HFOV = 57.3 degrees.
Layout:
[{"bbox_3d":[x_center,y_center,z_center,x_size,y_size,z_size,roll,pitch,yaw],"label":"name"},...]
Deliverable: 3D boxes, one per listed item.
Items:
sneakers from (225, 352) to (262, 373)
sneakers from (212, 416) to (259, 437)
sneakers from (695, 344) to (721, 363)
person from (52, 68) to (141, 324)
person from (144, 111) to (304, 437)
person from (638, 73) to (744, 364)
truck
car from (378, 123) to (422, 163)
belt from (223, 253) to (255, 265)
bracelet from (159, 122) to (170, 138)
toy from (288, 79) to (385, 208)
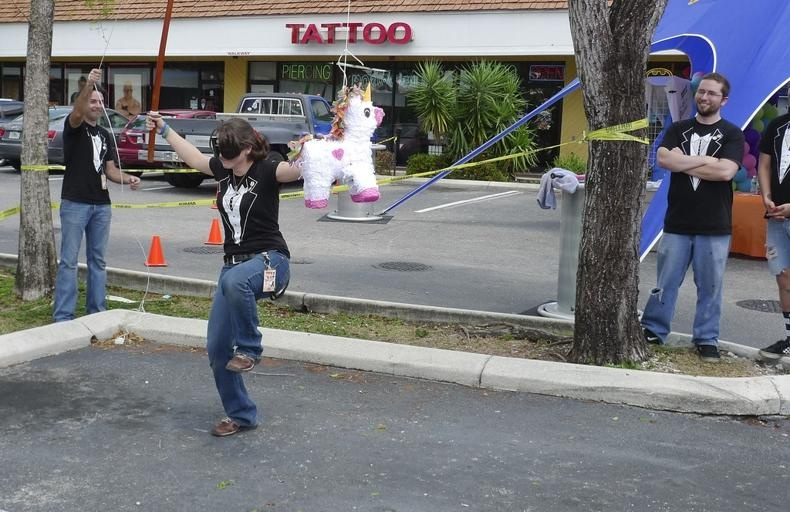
[{"bbox_3d":[-1.198,0.845,5.677,0.247,0.197,0.233,1,9,-10],"label":"sneakers"},{"bbox_3d":[-1.307,1.385,5.869,0.357,0.123,0.132,4,1,-31],"label":"sneakers"},{"bbox_3d":[3.182,0.978,7.349,0.231,0.154,0.208,6,9,21],"label":"sneakers"},{"bbox_3d":[-3.350,-0.596,7.940,0.612,2.586,0.907,3,9,1],"label":"person"},{"bbox_3d":[-1.271,0.136,5.967,0.679,2.515,1.018,-4,11,-36],"label":"person"},{"bbox_3d":[3.060,-0.426,7.423,0.834,2.860,0.560,7,10,22],"label":"person"},{"bbox_3d":[-3.381,-3.466,18.620,3.338,1.969,6.081,6,12,32],"label":"truck"},{"bbox_3d":[0.186,-3.980,25.220,1.498,1.136,2.437,6,9,38],"label":"car"},{"bbox_3d":[-1.259,0.023,5.788,0.160,0.050,0.109,-4,3,1],"label":"belt"},{"bbox_3d":[-1.997,-1.108,6.314,0.118,0.141,0.061,-1,-18,4],"label":"bracelet"},{"bbox_3d":[-0.445,-0.922,5.867,0.652,1.006,0.578,3,9,-2],"label":"toy"}]
